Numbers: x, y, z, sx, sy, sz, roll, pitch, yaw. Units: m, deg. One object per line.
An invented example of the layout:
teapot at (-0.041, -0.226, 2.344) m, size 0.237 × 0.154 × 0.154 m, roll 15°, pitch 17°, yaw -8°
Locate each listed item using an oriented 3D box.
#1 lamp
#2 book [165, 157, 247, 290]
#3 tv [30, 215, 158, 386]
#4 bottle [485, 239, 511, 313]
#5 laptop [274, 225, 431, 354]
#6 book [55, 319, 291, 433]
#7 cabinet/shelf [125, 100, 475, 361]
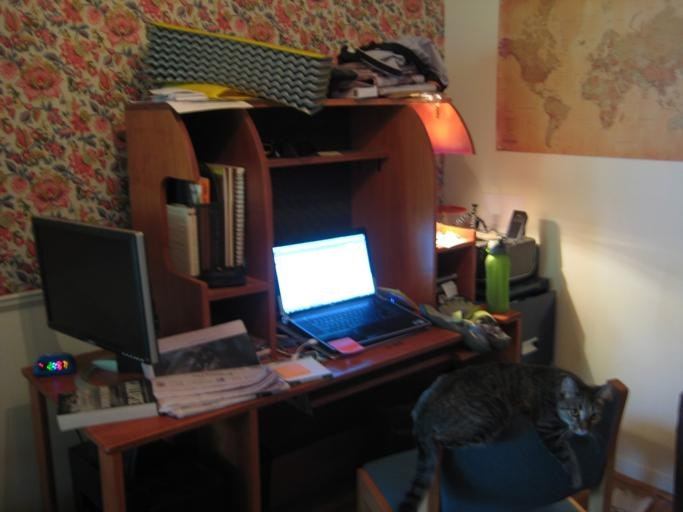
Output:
lamp at (0.454, -0.481, 2.818) m, size 0.262 × 0.525 × 0.359 m, roll -4°, pitch 19°, yaw -21°
book at (-0.494, -0.109, 2.023) m, size 0.372 × 0.461 × 0.251 m, roll 14°, pitch 19°, yaw 41°
tv at (-0.838, 0.153, 1.874) m, size 0.498 × 0.487 × 0.179 m, roll 13°, pitch 25°, yaw 33°
bottle at (0.725, 0.101, 2.573) m, size 0.108 × 0.348 × 0.063 m, roll -3°, pitch 11°, yaw 14°
laptop at (0.047, 0.129, 2.342) m, size 0.542 × 0.323 × 0.512 m, roll -8°, pitch 20°, yaw -33°
book at (-0.534, 0.260, 1.735) m, size 0.549 × 0.165 × 0.403 m, roll -12°, pitch 16°, yaw -28°
cabinet/shelf at (-0.090, -0.175, 2.335) m, size 1.409 × 0.943 × 0.625 m, roll -10°, pitch 22°, yaw -36°
